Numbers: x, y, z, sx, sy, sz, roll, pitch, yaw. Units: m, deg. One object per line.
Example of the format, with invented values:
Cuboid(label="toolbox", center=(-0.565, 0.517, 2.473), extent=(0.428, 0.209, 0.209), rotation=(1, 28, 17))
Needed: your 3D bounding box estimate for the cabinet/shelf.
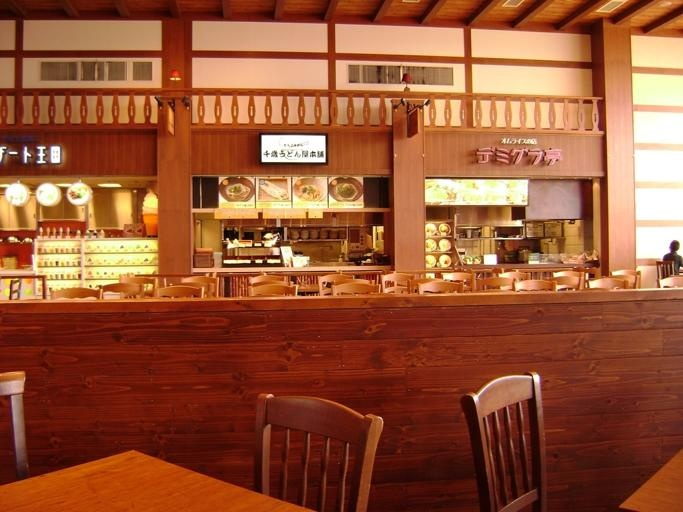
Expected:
Cuboid(label="cabinet/shelf", center=(-4.739, 0.148, 11.068), extent=(2.314, 0.941, 0.379), rotation=(-1, -1, 21))

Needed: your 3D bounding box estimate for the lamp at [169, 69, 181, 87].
Cuboid(label="lamp", center=(-3.250, -3.475, 11.510), extent=(0.255, 0.339, 0.332), rotation=(-1, 2, -14))
